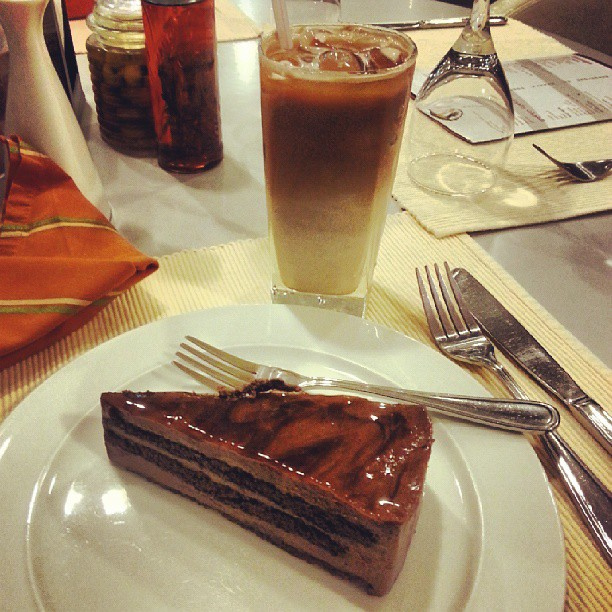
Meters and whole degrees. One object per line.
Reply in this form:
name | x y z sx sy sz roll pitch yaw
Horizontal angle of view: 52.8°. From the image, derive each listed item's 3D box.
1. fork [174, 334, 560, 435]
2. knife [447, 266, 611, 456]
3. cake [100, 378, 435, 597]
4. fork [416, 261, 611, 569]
fork | 0.053 0.090 0.692 0.440 0.035 0.056 6 50 9
knife | 0.231 0.012 0.857 0.058 0.035 0.472 -18 44 -14
cake | -0.052 0.199 0.704 0.356 0.132 0.174 9 32 14
fork | 0.208 0.074 0.796 0.069 0.059 0.527 -15 41 -11
